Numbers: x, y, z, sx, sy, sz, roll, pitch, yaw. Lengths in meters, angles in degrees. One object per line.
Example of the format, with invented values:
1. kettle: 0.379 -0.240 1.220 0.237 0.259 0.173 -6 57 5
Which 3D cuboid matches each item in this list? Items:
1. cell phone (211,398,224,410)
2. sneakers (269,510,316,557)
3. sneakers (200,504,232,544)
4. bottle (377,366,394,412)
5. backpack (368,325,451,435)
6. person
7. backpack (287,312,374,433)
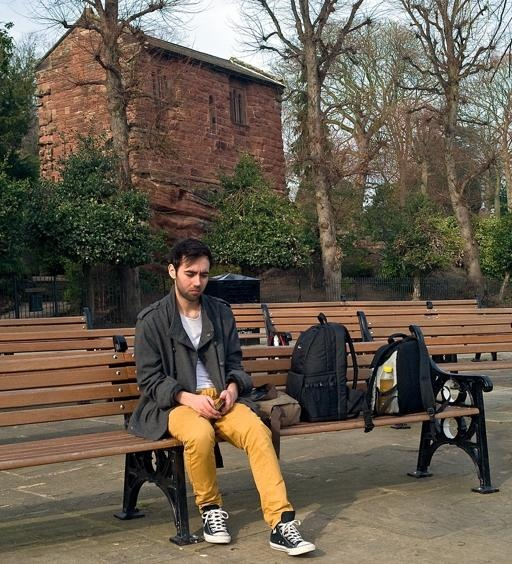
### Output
1. cell phone: -0.203 0.666 3.408 0.054 0.060 0.072 -3 -4 23
2. sneakers: 0.168 1.189 2.994 0.166 0.179 0.321 0 -4 -26
3. sneakers: -0.208 1.230 3.218 0.128 0.114 0.320 -1 -2 -15
4. bottle: 0.839 0.691 4.078 0.112 0.300 0.038 -4 -4 37
5. backpack: 0.983 0.636 4.219 0.580 0.518 0.498 7 -4 6
6. person: -0.225 0.522 3.372 0.701 1.580 0.911 1 -4 -29
7. backpack: 0.448 0.547 4.057 0.536 0.635 0.464 4 -5 -29
